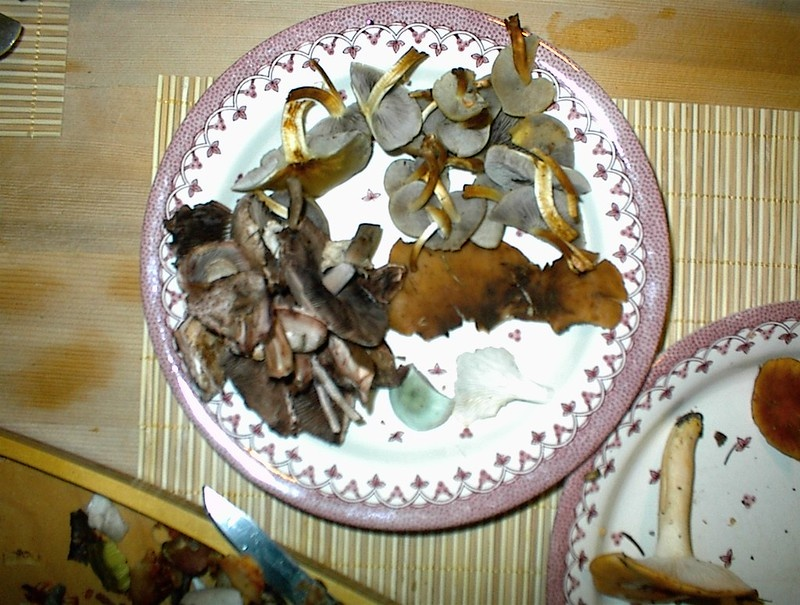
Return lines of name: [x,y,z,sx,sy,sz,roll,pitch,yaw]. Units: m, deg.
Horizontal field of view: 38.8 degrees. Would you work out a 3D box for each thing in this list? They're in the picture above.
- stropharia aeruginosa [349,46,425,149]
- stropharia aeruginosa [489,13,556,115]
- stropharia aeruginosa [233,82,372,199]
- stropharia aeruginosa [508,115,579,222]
stropharia aeruginosa: [-0.043,-0.740,4.263,0.244,0.122,0.352,37,109,-2]
stropharia aeruginosa: [0.445,-0.834,4.165,0.185,0.082,0.415,-6,98,1]
stropharia aeruginosa: [-0.350,-0.595,4.229,0.462,0.128,0.397,6,84,4]
stropharia aeruginosa: [0.546,-0.532,4.318,0.212,0.082,0.403,-24,91,-11]
